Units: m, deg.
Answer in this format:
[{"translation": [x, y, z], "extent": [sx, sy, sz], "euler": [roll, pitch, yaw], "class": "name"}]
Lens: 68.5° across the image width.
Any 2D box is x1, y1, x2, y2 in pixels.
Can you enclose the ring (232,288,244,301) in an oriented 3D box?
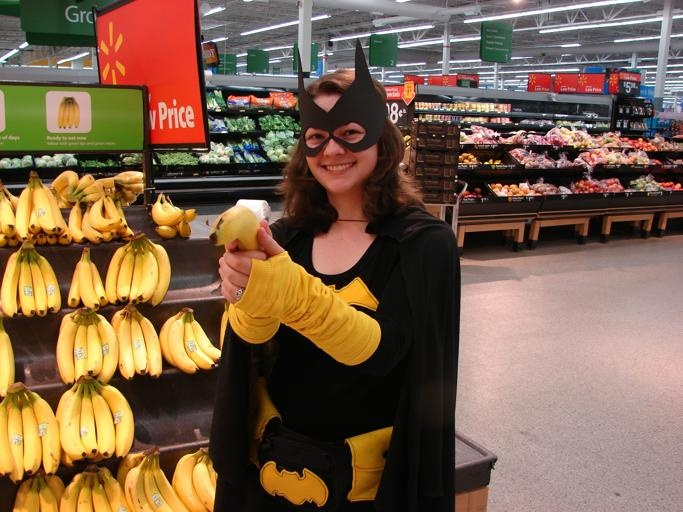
[{"translation": [-0.222, 0.082, 1.079], "extent": [0.007, 0.023, 0.025], "euler": [20, -2, 4], "class": "ring"}]
